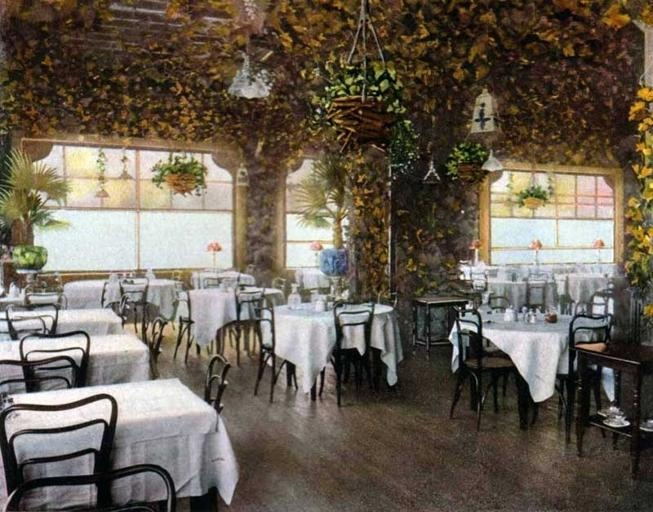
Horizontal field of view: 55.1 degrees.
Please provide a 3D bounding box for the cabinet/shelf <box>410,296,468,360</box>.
[{"bbox_3d":[1.439,0.830,7.777,0.809,0.844,0.630,-1,0,-20],"label":"cabinet/shelf"}]

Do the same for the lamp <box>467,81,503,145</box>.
[{"bbox_3d":[1.984,-1.742,7.778,0.386,0.718,0.202,2,7,18],"label":"lamp"}]

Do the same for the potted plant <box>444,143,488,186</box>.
[{"bbox_3d":[1.750,-1.163,7.758,0.435,0.531,0.533,0,3,6],"label":"potted plant"}]

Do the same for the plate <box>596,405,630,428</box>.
[{"bbox_3d":[2.135,1.184,4.625,0.216,0.054,0.360,-4,6,4],"label":"plate"}]

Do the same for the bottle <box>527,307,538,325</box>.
[{"bbox_3d":[1.908,0.551,5.783,0.072,0.172,0.070,-2,7,0],"label":"bottle"}]

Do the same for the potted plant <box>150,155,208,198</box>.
[{"bbox_3d":[-2.134,-1.175,8.992,0.715,0.594,0.694,-2,7,-10],"label":"potted plant"}]

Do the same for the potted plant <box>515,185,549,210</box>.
[{"bbox_3d":[2.463,-0.671,7.477,0.282,0.215,0.288,-3,-4,35],"label":"potted plant"}]
